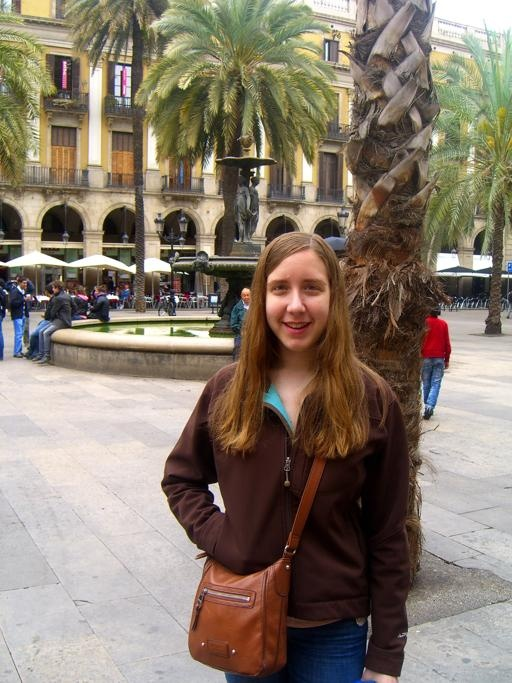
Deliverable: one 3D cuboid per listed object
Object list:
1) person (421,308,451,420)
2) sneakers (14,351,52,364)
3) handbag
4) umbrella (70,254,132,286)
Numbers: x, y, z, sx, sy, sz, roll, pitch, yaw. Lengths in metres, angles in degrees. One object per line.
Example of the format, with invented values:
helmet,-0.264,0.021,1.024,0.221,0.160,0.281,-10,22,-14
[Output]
person,2.250,0.292,8.731,0.310,1.251,1.071,2,5,14
sneakers,-4.417,0.363,13.741,0.416,0.185,0.136,16,-3,0
handbag,-0.023,0.559,1.422,0.269,0.260,0.133,-11,-23,38
umbrella,-8.845,-3.799,38.745,2.969,1.129,2.708,1,9,-12
